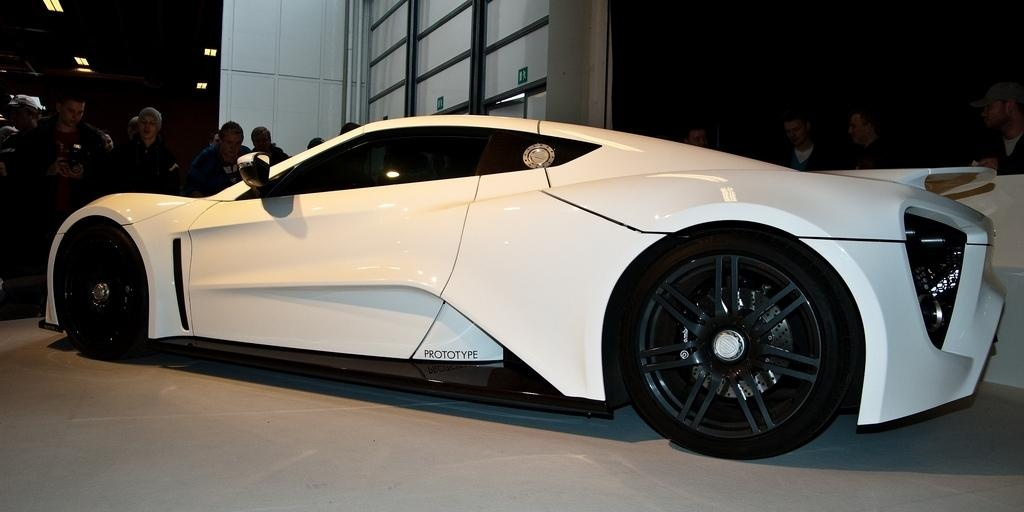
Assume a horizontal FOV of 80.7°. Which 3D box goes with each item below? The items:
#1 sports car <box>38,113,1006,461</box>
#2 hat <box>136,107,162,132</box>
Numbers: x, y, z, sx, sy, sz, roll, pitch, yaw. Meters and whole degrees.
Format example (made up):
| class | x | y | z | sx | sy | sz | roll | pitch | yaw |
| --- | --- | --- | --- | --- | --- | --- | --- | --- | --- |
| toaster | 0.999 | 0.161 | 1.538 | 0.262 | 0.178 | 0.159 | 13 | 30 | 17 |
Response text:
| class | x | y | z | sx | sy | sz | roll | pitch | yaw |
| --- | --- | --- | --- | --- | --- | --- | --- | --- | --- |
| sports car | 0.028 | 0.134 | 5.048 | 5.801 | 1.517 | 3.136 | 4 | 3 | 21 |
| hat | -4.710 | -1.772 | 7.771 | 0.279 | 0.348 | 0.321 | 5 | 9 | 19 |
